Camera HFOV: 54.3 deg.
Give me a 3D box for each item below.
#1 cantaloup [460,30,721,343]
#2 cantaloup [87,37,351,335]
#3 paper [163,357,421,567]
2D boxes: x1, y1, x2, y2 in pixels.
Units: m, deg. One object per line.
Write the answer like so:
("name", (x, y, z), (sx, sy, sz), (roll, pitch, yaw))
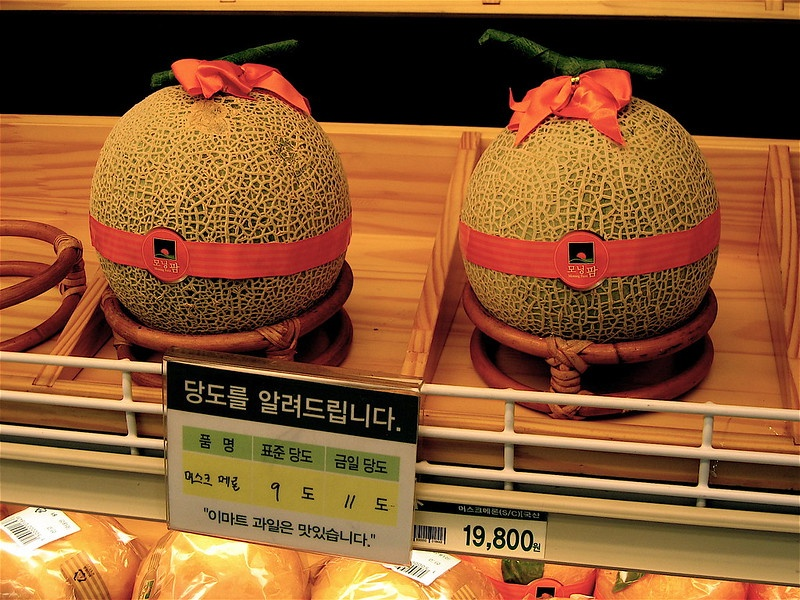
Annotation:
("cantaloup", (0.289, -0.174, 1.180), (0.397, 0.402, 0.388), (-11, 16, -18))
("cantaloup", (-0.277, -0.195, 1.236), (0.447, 0.474, 0.448), (-4, 27, -17))
("paper", (-0.132, 0.195, 0.954), (0.283, 0.205, 0.037), (6, 19, 14))
